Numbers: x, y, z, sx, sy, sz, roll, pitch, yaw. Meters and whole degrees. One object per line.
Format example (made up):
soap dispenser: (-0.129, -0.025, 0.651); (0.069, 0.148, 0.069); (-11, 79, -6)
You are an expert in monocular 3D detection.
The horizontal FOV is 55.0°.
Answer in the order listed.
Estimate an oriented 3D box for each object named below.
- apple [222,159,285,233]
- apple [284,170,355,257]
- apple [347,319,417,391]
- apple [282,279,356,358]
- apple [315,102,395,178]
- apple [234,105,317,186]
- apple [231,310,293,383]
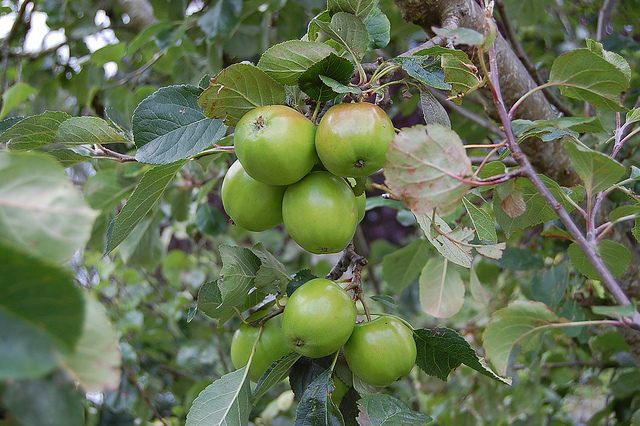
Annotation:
apple: (-0.211, -0.068, 1.910); (0.190, 0.211, 0.262); (-5, 71, 10)
apple: (-0.008, 0.022, 1.858); (0.205, 0.221, 0.286); (-4, 69, 2)
apple: (0.193, 0.422, 1.849); (0.216, 0.163, 0.169); (-12, 65, -6)
apple: (0.000, 0.300, 1.782); (0.213, 0.094, 0.203); (-3, 65, -2)
apple: (0.088, -0.207, 1.804); (0.193, 0.196, 0.204); (-2, 63, -15)
apple: (-0.130, -0.187, 1.826); (0.207, 0.226, 0.216); (10, 48, 0)
apple: (-0.184, 0.402, 1.886); (0.192, 0.198, 0.252); (7, 75, -16)
